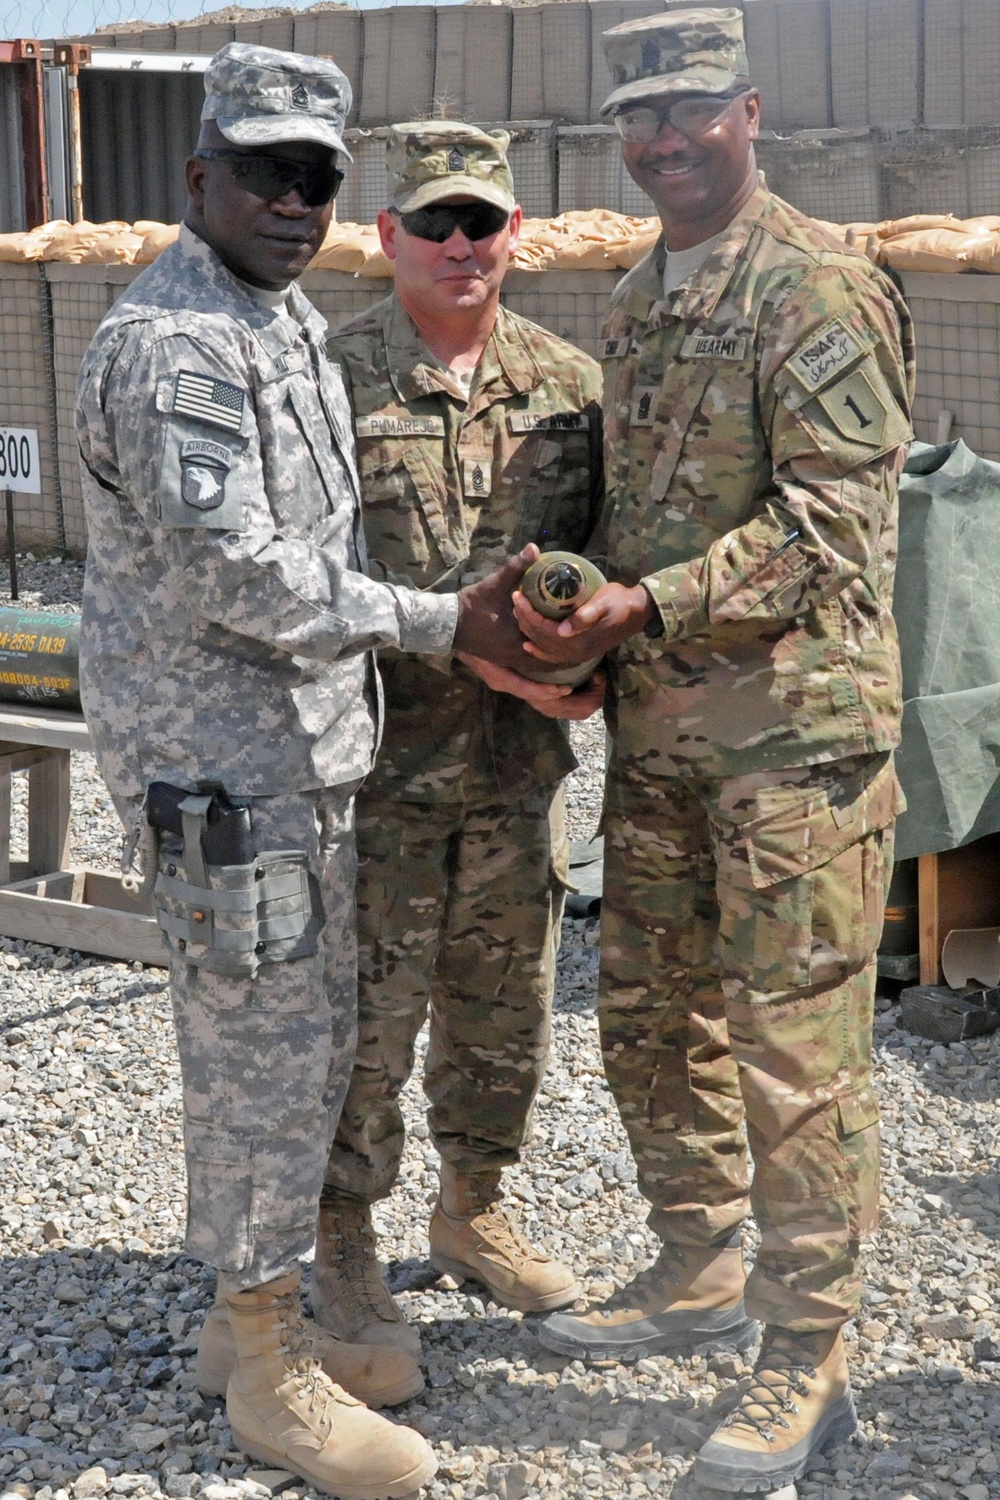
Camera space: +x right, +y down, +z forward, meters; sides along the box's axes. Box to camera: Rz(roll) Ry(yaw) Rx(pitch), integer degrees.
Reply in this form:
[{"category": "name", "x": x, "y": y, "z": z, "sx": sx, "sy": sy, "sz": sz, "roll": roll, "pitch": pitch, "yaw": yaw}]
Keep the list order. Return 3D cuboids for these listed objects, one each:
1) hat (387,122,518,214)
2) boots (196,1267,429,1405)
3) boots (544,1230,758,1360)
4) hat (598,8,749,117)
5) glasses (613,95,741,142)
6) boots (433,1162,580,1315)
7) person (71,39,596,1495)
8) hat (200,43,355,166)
[{"category": "hat", "x": -0.098, "y": -1.068, "z": 2.751, "sx": 0.190, "sy": 0.122, "sz": 0.249, "roll": 0, "pitch": 13, "yaw": -7}, {"category": "boots", "x": -0.309, "y": 1.076, "z": 2.681, "sx": 0.430, "sy": 0.240, "sz": 0.157, "roll": -28, "pitch": -21, "yaw": 28}, {"category": "boots", "x": 0.284, "y": 0.993, "z": 2.779, "sx": 0.493, "sy": 0.262, "sz": 0.155, "roll": 1, "pitch": -1, "yaw": 2}, {"category": "hat", "x": 0.277, "y": -1.035, "z": 2.306, "sx": 0.181, "sy": 0.103, "sz": 0.222, "roll": -10, "pitch": 13, "yaw": 30}, {"category": "glasses", "x": 0.261, "y": -0.942, "z": 2.263, "sx": 0.185, "sy": 0.068, "sz": 0.080, "roll": 0, "pitch": 10, "yaw": 11}, {"category": "boots", "x": 0.003, "y": 0.950, "z": 2.946, "sx": 0.125, "sy": 0.221, "sz": 0.363, "roll": -7, "pitch": 10, "yaw": -44}, {"category": "person", "x": -0.326, "y": 0.087, "z": 2.266, "sx": 0.556, "sy": 2.139, "sz": 0.419, "roll": -5, "pitch": 11, "yaw": -14}, {"category": "hat", "x": -0.315, "y": -0.901, "z": 2.097, "sx": 0.181, "sy": 0.108, "sz": 0.220, "roll": 3, "pitch": 8, "yaw": -24}]
